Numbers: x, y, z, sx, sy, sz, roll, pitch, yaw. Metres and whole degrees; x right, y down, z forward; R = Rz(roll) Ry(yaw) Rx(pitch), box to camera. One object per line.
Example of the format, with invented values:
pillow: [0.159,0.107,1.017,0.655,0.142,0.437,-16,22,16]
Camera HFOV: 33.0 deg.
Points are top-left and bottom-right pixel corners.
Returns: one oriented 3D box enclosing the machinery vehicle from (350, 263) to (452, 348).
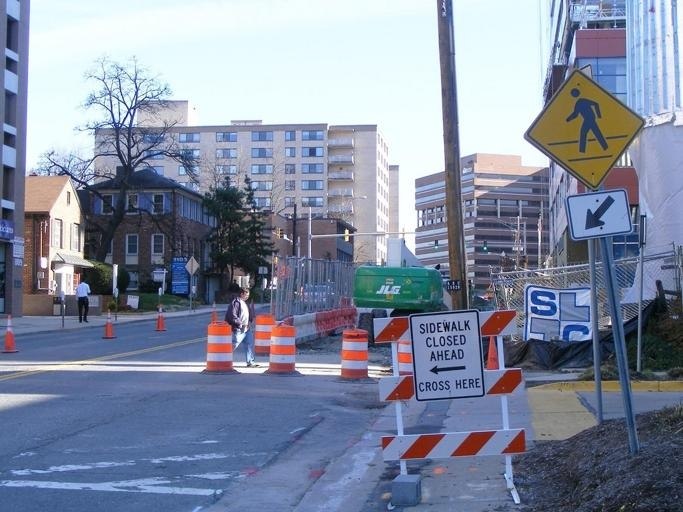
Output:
machinery vehicle: [1.552,1.375,33.157,2.613,2.372,2.864,3,-1,23]

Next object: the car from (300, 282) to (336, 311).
car: [-0.764,1.246,35.568,0.873,0.910,2.455,-1,1,8]

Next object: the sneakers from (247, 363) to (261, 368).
sneakers: [-2.002,2.539,26.826,0.320,0.140,0.109,-4,3,2]
